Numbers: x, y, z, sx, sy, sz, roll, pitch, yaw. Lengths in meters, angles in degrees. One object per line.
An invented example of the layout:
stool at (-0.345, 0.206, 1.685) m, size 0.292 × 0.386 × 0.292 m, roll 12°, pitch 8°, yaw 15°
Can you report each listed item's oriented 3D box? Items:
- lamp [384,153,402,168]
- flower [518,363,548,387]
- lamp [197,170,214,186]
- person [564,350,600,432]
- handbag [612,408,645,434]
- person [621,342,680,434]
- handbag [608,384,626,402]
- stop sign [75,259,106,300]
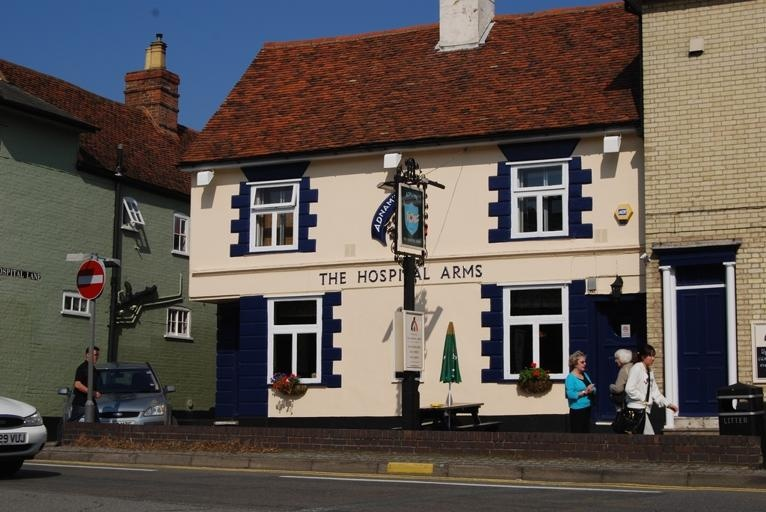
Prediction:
lamp at (0.259, -2.665, 37.535) m, size 0.529 × 0.483 × 0.511 m, roll -2°, pitch -16°, yaw 7°
flower at (4.102, 3.258, 35.651) m, size 0.567 × 0.390 × 0.556 m, roll -2°, pitch -3°, yaw 22°
lamp at (-5.278, -2.244, 39.309) m, size 0.456 × 0.439 × 0.441 m, roll 0°, pitch 19°, yaw 6°
person at (4.567, 3.162, 30.465) m, size 0.622 × 1.888 × 1.058 m, roll 0°, pitch -10°, yaw 9°
handbag at (5.592, 3.712, 29.675) m, size 0.676 × 0.640 × 0.517 m, roll 7°, pitch -4°, yaw 10°
person at (5.863, 2.998, 29.353) m, size 1.005 × 2.004 × 0.737 m, roll -2°, pitch -11°, yaw 19°
handbag at (5.334, 3.119, 29.976) m, size 0.370 × 0.593 × 0.454 m, roll -3°, pitch 7°, yaw 14°
stop sign at (-7.200, 0.617, 32.394) m, size 0.589 × 0.988 × 0.839 m, roll 5°, pitch -11°, yaw -18°
